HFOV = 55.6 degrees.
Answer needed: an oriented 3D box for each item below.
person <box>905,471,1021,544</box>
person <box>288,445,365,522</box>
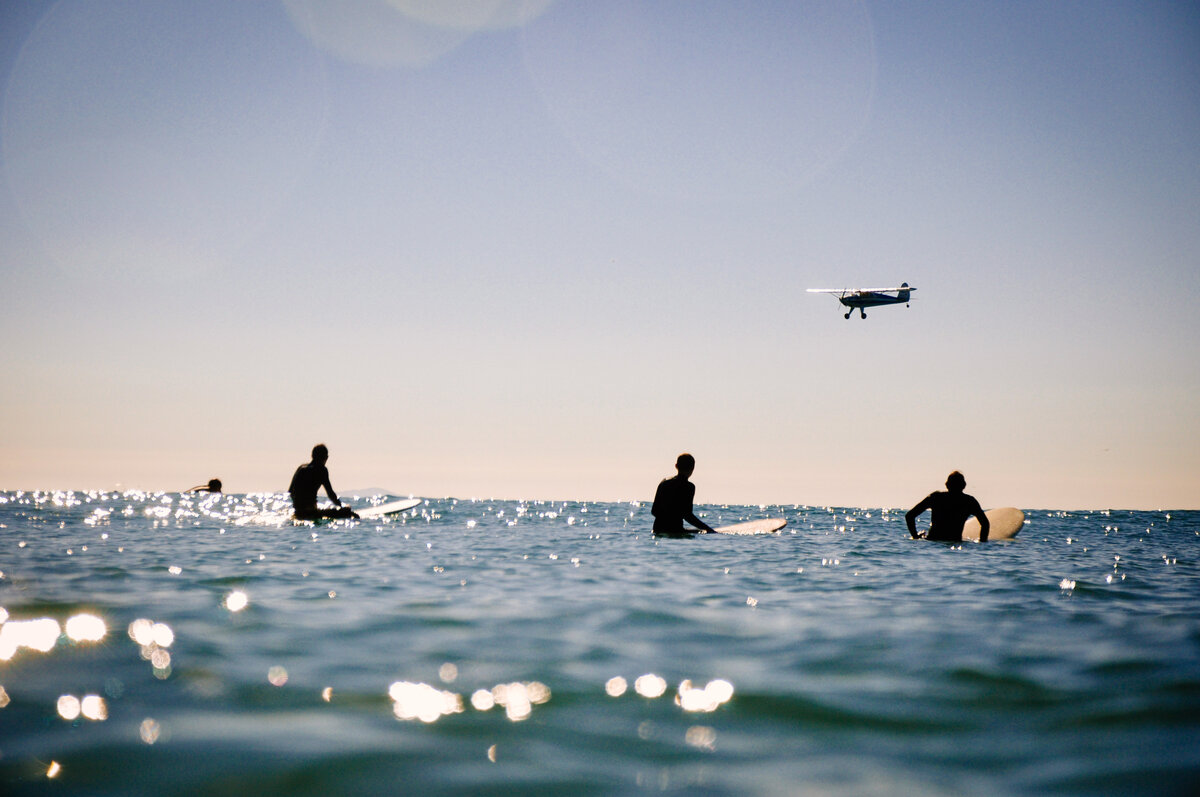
[{"bbox_3d":[6.106,1.941,20.100,2.262,0.557,1.566,-16,23,-35],"label":"person"},{"bbox_3d":[-5.416,1.699,22.269,1.158,1.378,3.248,4,-8,-14],"label":"person"}]
